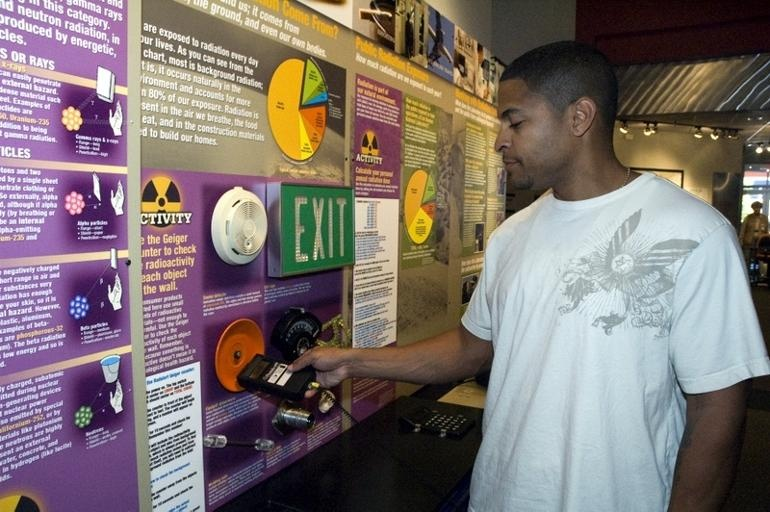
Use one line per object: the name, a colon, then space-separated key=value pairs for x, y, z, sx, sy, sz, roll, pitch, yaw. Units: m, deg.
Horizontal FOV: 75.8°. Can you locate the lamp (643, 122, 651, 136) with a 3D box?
lamp: x=2.712 y=-1.322 z=5.122 sx=0.061 sy=0.112 sz=0.052 roll=-6 pitch=9 yaw=-25

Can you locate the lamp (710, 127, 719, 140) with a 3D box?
lamp: x=3.170 y=-1.179 z=4.762 sx=0.088 sy=0.139 sz=0.065 roll=-17 pitch=22 yaw=-38
